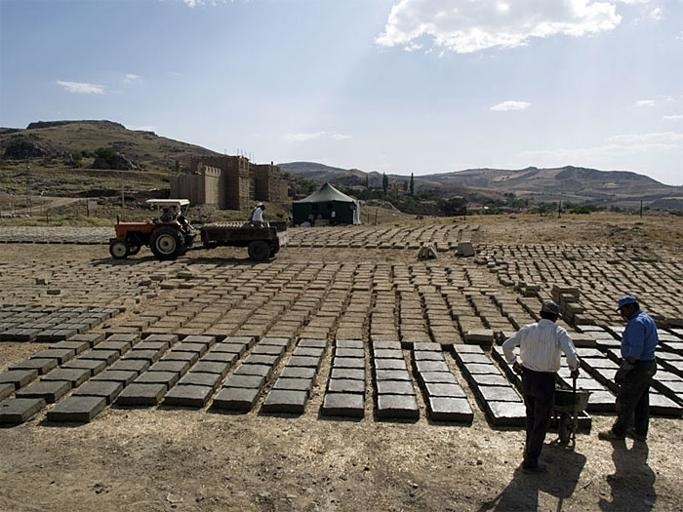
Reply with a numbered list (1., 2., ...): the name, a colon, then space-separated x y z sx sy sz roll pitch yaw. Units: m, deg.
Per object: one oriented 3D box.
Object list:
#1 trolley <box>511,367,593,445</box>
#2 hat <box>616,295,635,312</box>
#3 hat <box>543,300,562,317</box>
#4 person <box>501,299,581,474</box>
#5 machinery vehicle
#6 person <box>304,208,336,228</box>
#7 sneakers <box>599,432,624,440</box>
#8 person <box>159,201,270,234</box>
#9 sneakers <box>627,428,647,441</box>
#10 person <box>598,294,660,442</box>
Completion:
1. trolley: 2.175 1.703 5.020 0.693 0.655 1.124 -3 -19 23
2. hat: 2.896 0.488 4.788 0.236 0.101 0.150 -8 7 19
3. hat: 2.033 0.499 4.501 0.178 0.102 0.243 8 7 44
4. person: 1.895 1.202 4.437 0.567 1.511 0.604 -4 14 -16
5. machinery vehicle: -5.410 -0.765 13.530 2.501 1.334 1.466 -2 11 0
6. person: -1.253 -2.244 27.510 1.422 0.669 1.257 0 -2 3
7. sneakers: 2.739 1.845 4.796 0.260 0.084 0.079 1 2 15
8. person: -4.241 -1.169 13.518 4.167 1.145 1.060 1 6 -3
9. sneakers: 3.024 1.837 4.829 0.091 0.080 0.218 -1 4 -16
10. person: 2.969 1.145 4.752 0.449 1.472 0.534 9 17 32
